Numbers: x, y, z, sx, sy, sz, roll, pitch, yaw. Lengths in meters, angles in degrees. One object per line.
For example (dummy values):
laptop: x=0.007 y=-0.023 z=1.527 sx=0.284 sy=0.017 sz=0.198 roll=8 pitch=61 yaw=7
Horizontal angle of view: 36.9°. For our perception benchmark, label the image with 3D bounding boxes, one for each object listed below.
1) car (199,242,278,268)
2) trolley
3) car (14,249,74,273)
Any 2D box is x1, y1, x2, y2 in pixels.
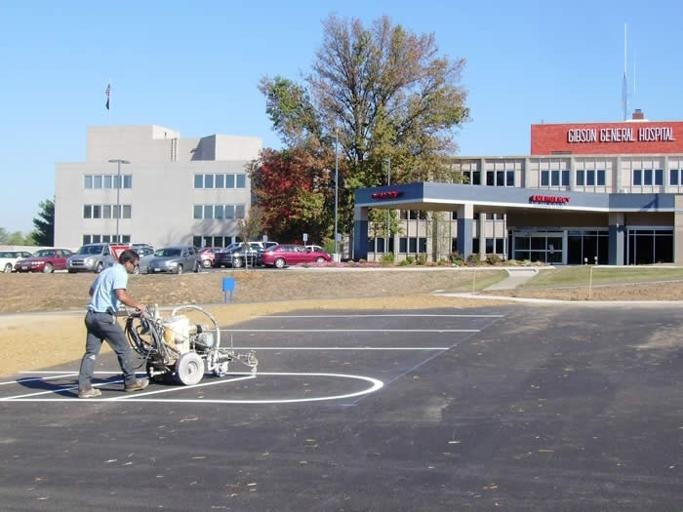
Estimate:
car: x=-4.710 y=-0.076 z=54.928 sx=4.163 sy=1.236 sz=1.842 roll=-5 pitch=5 yaw=-16
trolley: x=-2.859 y=1.620 z=19.957 sx=3.006 sy=1.454 sz=1.066 roll=-3 pitch=6 yaw=-42
car: x=-14.717 y=0.275 z=51.526 sx=1.437 sy=0.991 sz=3.201 roll=-2 pitch=-4 yaw=25
